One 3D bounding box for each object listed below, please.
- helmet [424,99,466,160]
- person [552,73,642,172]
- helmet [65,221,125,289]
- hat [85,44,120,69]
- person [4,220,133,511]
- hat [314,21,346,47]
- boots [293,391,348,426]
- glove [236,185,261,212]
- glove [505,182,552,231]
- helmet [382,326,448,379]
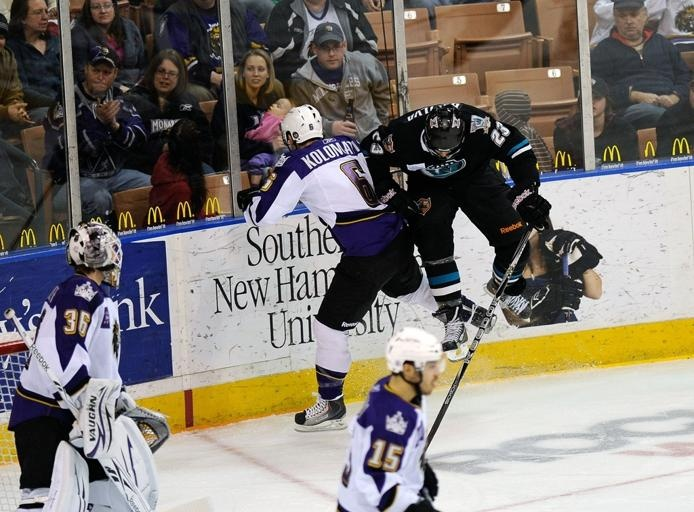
[{"bbox_3d":[0.637,-0.817,6.321,0.255,0.327,0.325,-3,11,4],"label":"helmet"},{"bbox_3d":[2.016,-0.998,7.560,0.590,0.791,0.260,-3,2,-6],"label":"person"},{"bbox_3d":[-1.363,-0.026,5.154,0.345,0.352,0.265,-3,12,-39],"label":"helmet"},{"bbox_3d":[-1.680,-1.349,6.521,0.121,0.086,0.164,25,-6,-15],"label":"hat"},{"bbox_3d":[-1.415,0.541,4.873,0.702,1.323,0.535,-9,12,-23],"label":"person"},{"bbox_3d":[-0.145,-1.659,7.172,0.148,0.115,0.199,0,-3,-3],"label":"hat"},{"bbox_3d":[-0.174,1.074,6.790,0.455,0.290,0.159,-1,14,-11],"label":"boots"},{"bbox_3d":[-0.658,-0.406,6.590,0.156,0.183,0.067,-3,-14,31],"label":"glove"},{"bbox_3d":[1.262,-0.364,6.554,0.226,0.320,0.137,-42,1,30],"label":"glove"},{"bbox_3d":[0.292,0.419,4.294,0.226,0.211,0.180,-4,16,-3],"label":"helmet"}]
